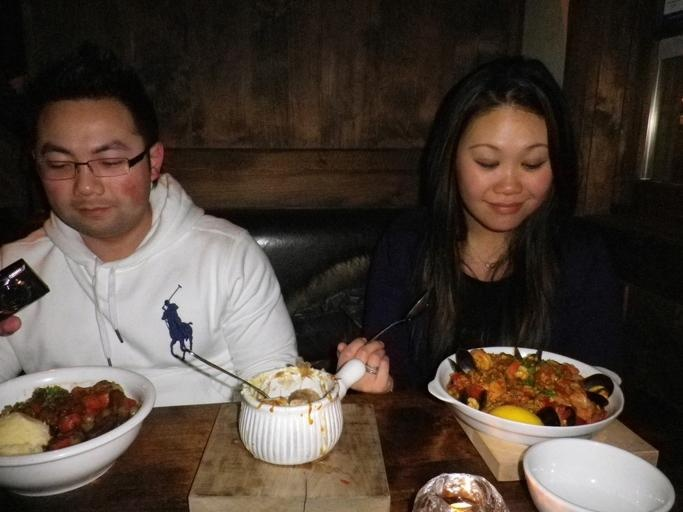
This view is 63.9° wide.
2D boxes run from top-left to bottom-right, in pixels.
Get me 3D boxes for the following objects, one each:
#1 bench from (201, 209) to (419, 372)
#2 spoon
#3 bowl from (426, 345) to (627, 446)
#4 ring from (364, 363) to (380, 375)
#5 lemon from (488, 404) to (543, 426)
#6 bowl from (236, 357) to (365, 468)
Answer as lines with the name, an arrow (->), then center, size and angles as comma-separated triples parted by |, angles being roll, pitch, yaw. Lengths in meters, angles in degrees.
bench -> -0.027, 0.118, 4.018 | 1.264, 1.311, 1.037 | -1, 51, 17
spoon -> 0.362, 0.342, 3.148 | 0.062, 0.421, 0.060 | 41, 7, -5
bowl -> 0.766, 0.553, 2.013 | 0.508, 0.088, 0.412 | -7, 19, -10
ring -> 0.129, 0.478, 2.322 | 0.059, 0.021, 0.059 | 2, -4, 0
lemon -> 0.652, 0.585, 2.046 | 0.118, 0.066, 0.082 | 4, 16, 22
bowl -> -0.170, 0.531, 2.094 | 0.345, 0.288, 0.510 | 12, 18, 29
